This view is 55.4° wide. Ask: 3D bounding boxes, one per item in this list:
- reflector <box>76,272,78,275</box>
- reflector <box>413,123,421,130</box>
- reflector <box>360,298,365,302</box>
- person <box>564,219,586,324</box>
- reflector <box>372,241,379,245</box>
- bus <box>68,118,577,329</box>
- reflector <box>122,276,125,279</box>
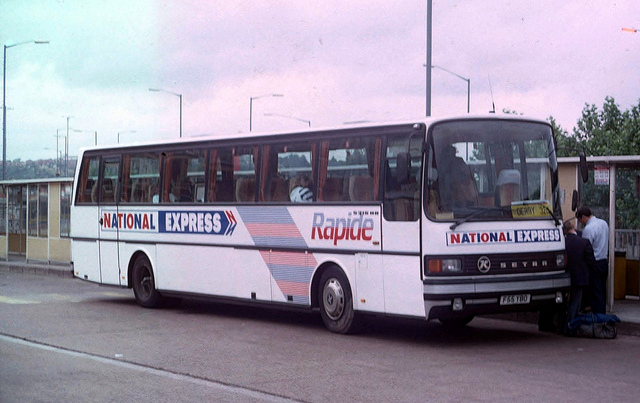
[{"bbox_3d":[-7.506,2.195,18.627,0.072,0.081,0.019,0,1,24],"label":"reflector"},{"bbox_3d":[1.950,-1.484,12.126,0.124,0.074,0.181,1,3,-8],"label":"reflector"},{"bbox_3d":[0.887,2.048,12.632,0.085,0.087,0.049,1,3,40],"label":"reflector"},{"bbox_3d":[5.402,1.632,12.788,0.408,1.852,0.468,0,1,24],"label":"person"},{"bbox_3d":[1.148,0.846,12.416,0.143,0.067,0.005,0,0,40],"label":"reflector"},{"bbox_3d":[-1.240,0.433,15.845,14.580,4.291,3.136,0,0,36],"label":"bus"},{"bbox_3d":[-5.709,2.185,17.486,0.108,0.070,0.120,3,-2,-5],"label":"reflector"}]
